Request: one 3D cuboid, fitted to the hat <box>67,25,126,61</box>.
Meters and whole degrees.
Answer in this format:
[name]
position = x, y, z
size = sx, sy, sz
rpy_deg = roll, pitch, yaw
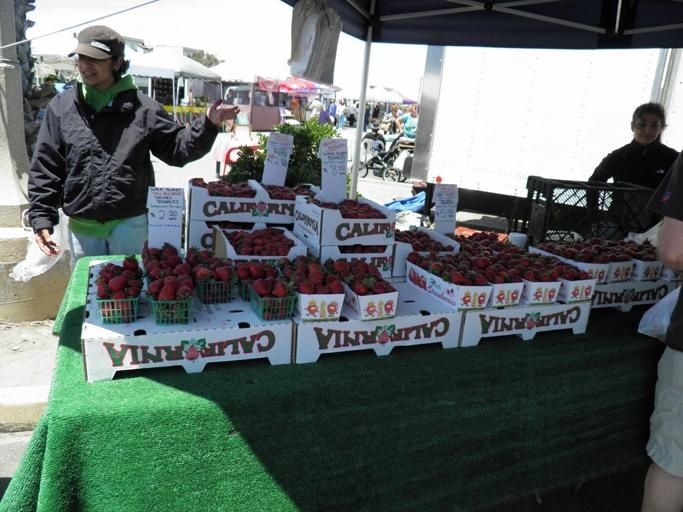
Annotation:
[hat]
position = -1.613, -1.429, 3.156
size = 0.371, 0.233, 0.207
rpy_deg = -7, 17, -42
